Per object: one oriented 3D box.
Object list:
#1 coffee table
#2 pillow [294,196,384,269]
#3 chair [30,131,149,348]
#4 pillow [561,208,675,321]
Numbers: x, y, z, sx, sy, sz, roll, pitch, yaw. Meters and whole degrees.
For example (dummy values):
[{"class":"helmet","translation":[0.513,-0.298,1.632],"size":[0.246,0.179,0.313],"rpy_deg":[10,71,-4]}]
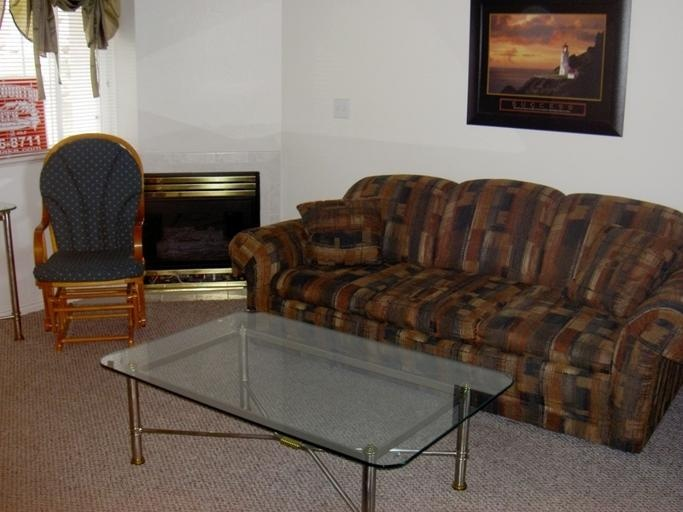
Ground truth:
[{"class":"coffee table","translation":[-0.082,0.509,2.392],"size":[1.274,0.409,0.798],"rpy_deg":[14,23,35]},{"class":"pillow","translation":[-0.010,-0.145,3.652],"size":[0.677,0.406,0.373],"rpy_deg":[0,7,-7]},{"class":"chair","translation":[-1.599,-0.133,3.770],"size":[0.702,1.258,0.945],"rpy_deg":[-4,16,-17]},{"class":"pillow","translation":[1.389,0.062,2.925],"size":[0.146,0.459,0.480],"rpy_deg":[34,-3,-39]}]
